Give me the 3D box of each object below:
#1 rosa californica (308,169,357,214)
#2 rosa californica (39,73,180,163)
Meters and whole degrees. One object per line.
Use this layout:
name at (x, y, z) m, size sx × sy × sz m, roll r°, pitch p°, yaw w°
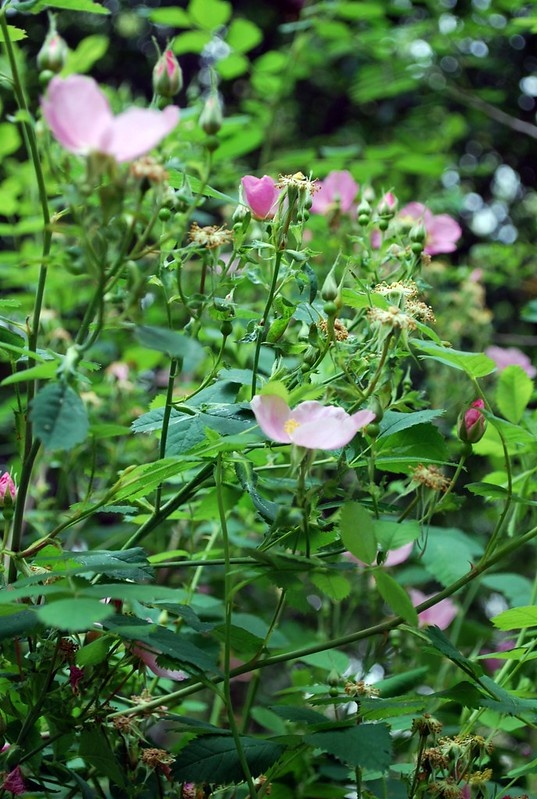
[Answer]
rosa californica at (0.156, -0.473, 1.902) m, size 0.096 × 0.109 × 0.183 m, roll 13°, pitch 18°, yaw 1°
rosa californica at (-0.149, -0.255, 0.779) m, size 0.113 × 0.043 × 0.102 m, roll 11°, pitch 13°, yaw 34°
